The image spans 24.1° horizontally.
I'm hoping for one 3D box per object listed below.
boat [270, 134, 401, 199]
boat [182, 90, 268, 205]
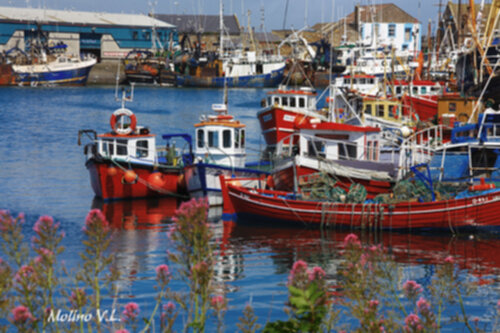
[{"bbox_3d":[4.516,0.014,63.292,5.784,2.675,3.449,1,4,-14],"label":"boat"},{"bbox_3d":[-1.783,-0.663,65.087,3.806,5.008,4.125,-1,13,-2],"label":"boat"}]
